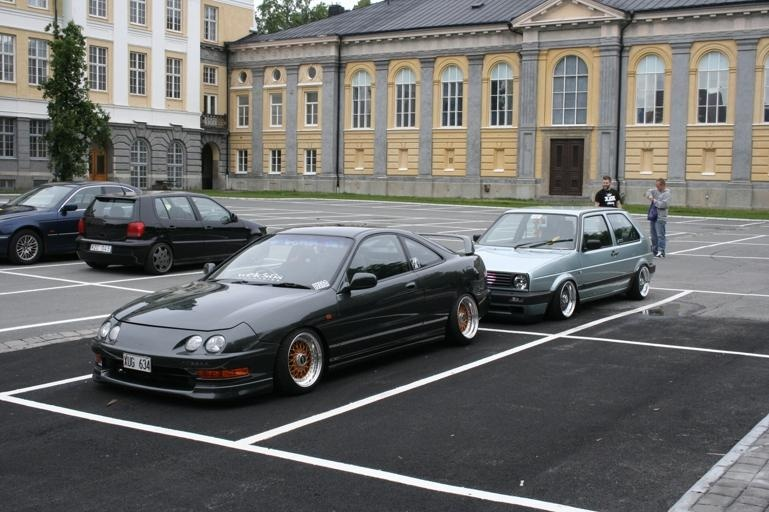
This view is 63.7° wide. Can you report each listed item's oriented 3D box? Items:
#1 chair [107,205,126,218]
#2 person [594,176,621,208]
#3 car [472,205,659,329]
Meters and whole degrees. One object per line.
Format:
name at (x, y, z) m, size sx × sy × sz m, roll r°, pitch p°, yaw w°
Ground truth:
chair at (-6.573, -1.122, 15.495) m, size 0.603 × 0.310 × 0.185 m, roll 5°, pitch 9°, yaw 27°
person at (6.787, -1.967, 19.011) m, size 0.943 × 0.909 × 0.557 m, roll -7°, pitch 11°, yaw -42°
car at (3.261, 0.090, 11.948) m, size 3.137 × 1.295 × 2.072 m, roll -2°, pitch 3°, yaw -43°
